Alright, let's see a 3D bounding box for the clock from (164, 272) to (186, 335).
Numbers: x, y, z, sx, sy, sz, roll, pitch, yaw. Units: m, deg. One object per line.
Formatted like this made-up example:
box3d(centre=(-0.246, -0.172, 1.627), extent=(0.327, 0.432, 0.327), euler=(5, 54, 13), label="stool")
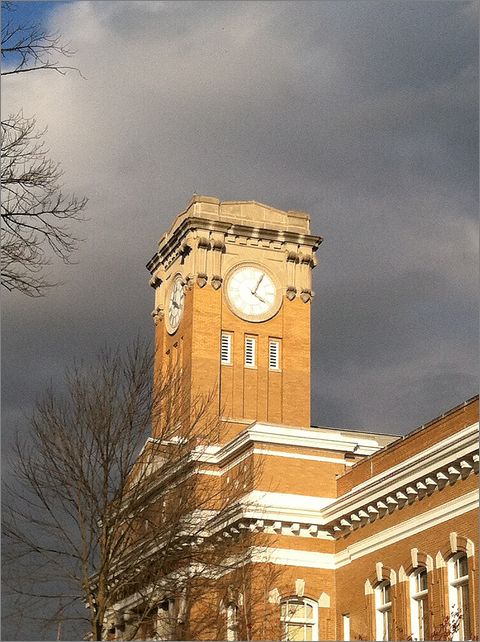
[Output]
box3d(centre=(-2.337, -0.519, 74.371), extent=(0.100, 2.015, 1.927), euler=(8, 9, 18), label="clock")
